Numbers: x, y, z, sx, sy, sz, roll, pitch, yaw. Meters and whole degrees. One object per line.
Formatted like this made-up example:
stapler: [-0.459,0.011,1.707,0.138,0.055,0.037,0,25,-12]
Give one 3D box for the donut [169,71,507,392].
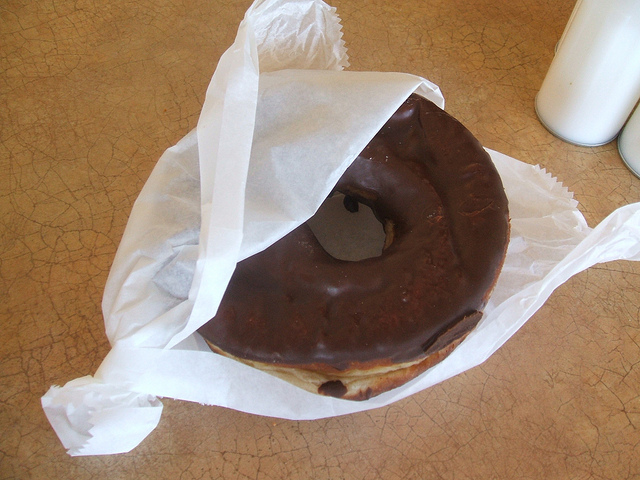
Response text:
donut: [0.063,-0.002,1.175,0.480,0.163,0.526,4,53,12]
